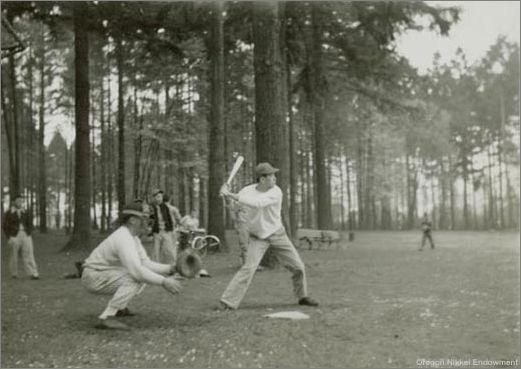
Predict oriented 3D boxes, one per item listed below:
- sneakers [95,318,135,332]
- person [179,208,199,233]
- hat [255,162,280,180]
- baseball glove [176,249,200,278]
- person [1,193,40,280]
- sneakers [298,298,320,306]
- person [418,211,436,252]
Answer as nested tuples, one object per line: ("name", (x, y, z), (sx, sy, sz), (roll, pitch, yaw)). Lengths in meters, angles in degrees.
("sneakers", (-2.749, 2.628, 13.266), (0.530, 0.191, 0.278), (1, -8, -6))
("person", (-1.912, 0.949, 19.118), (0.233, 0.582, 0.768), (-3, -3, 26))
("hat", (0.112, -0.324, 14.357), (0.486, 0.242, 0.346), (-12, 5, 4))
("baseball glove", (-1.366, 1.489, 13.491), (0.459, 0.500, 0.219), (0, -1, -6))
("person", (-5.578, 1.209, 16.485), (0.746, 1.927, 1.036), (-1, -2, -19))
("sneakers", (0.958, 2.373, 14.362), (0.473, 0.181, 0.151), (0, -4, 3))
("person", (3.877, 1.081, 16.553), (0.307, 0.885, 0.369), (-2, -2, 3))
